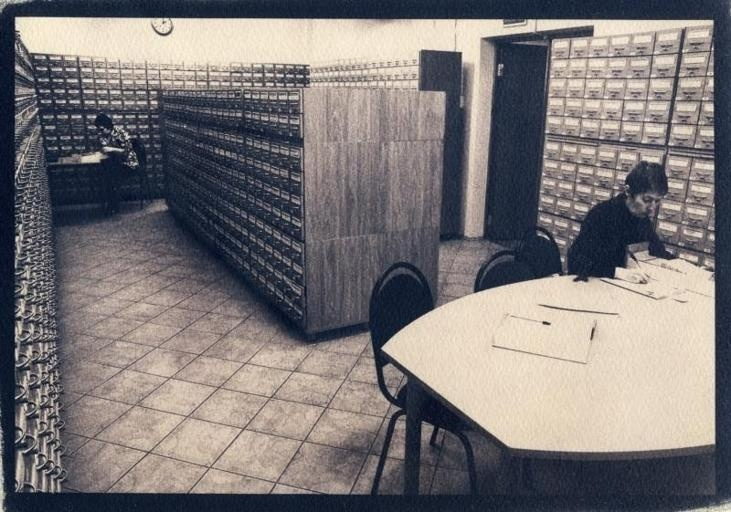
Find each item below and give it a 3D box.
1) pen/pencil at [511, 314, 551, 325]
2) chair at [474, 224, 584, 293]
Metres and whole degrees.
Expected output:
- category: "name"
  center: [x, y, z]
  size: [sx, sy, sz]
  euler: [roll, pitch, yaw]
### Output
- category: "pen/pencil"
  center: [0.584, 0.222, 2.005]
  size: [0.114, 0.013, 0.013]
  euler: [13, 4, 27]
- category: "chair"
  center: [0.797, 0.013, 2.765]
  size: [0.235, 0.447, 0.277]
  euler: [30, 26, 34]
